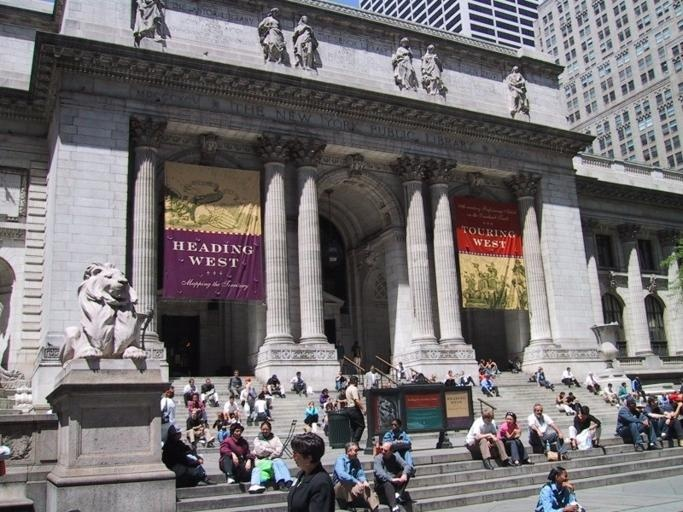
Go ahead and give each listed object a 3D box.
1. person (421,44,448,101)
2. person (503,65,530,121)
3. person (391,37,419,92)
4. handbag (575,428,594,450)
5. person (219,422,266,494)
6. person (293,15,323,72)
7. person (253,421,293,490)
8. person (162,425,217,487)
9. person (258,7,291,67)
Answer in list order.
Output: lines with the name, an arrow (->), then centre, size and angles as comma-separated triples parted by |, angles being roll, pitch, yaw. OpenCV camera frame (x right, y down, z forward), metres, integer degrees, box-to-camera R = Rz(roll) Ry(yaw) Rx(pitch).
person -> 5.249, -10.574, 42.563 | 1.418, 3.103, 0.602 | 5, -11, -27
person -> 10.672, -10.100, 45.435 | 1.400, 3.679, 0.749 | 5, -11, -26
person -> 3.539, -10.821, 42.003 | 1.463, 3.076, 0.471 | 4, -10, -20
handbag -> 7.876, 5.899, 23.880 | 0.617, 0.672, 0.350 | 0, -10, -1
person -> -2.897, 5.222, 19.882 | 1.068, 1.358, 1.234 | -1, -1, 23
person -> -1.906, -11.269, 39.520 | 0.734, 3.014, 1.524 | -9, -13, 44
person -> -1.926, 5.366, 19.906 | 1.075, 1.720, 1.342 | 1, -9, -4
person -> -4.136, 5.202, 19.065 | 1.014, 1.447, 0.569 | 2, -10, -12
person -> -3.668, -11.456, 38.791 | 1.554, 3.022, 0.624 | 2, -10, -9
